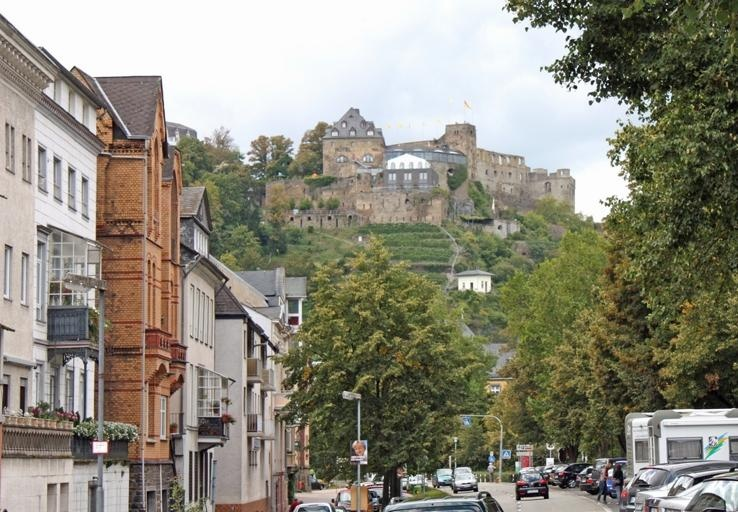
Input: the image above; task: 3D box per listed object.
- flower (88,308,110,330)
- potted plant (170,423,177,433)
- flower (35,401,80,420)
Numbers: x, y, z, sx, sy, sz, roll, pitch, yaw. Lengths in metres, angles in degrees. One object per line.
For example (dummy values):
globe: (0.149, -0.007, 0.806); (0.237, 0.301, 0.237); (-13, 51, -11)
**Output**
flower: (-10.909, 2.639, 75.549); (0.673, 0.559, 0.708); (4, -1, -12)
potted plant: (-8.891, 7.897, 85.354); (0.372, 0.408, 0.338); (1, -10, -7)
flower: (-12.323, 6.142, 72.781); (0.812, 0.518, 1.137); (5, -13, 0)
